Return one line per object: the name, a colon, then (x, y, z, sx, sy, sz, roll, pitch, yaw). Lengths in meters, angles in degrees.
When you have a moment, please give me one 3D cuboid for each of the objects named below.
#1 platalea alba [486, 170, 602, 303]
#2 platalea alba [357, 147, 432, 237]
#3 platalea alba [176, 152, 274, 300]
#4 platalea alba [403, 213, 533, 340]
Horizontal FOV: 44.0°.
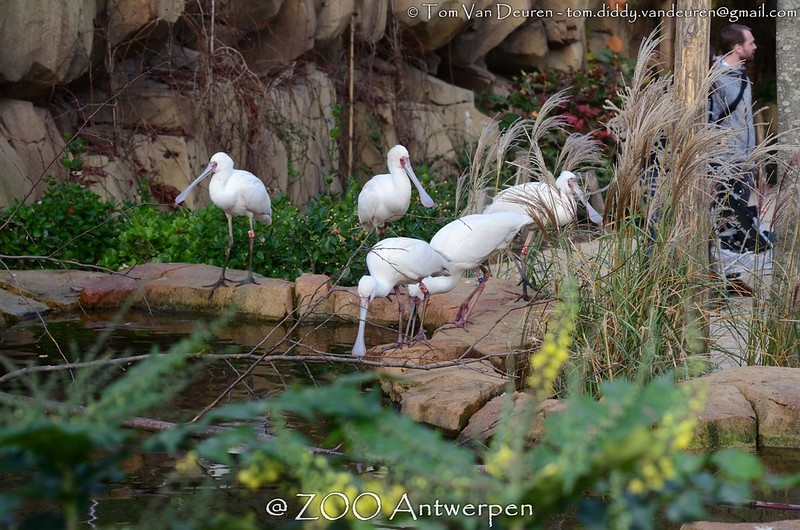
platalea alba: (1.188, -0.277, 8.379, 1.159, 0.953, 0.339, 6, 12, 41)
platalea alba: (-0.090, -0.751, 10.301, 0.742, 0.935, 0.597, 3, 13, 3)
platalea alba: (-1.820, -0.430, 9.952, 0.583, 1.359, 1.572, 2, 10, 22)
platalea alba: (0.587, 0.045, 8.491, 1.478, 0.855, 0.357, -19, 8, -24)
